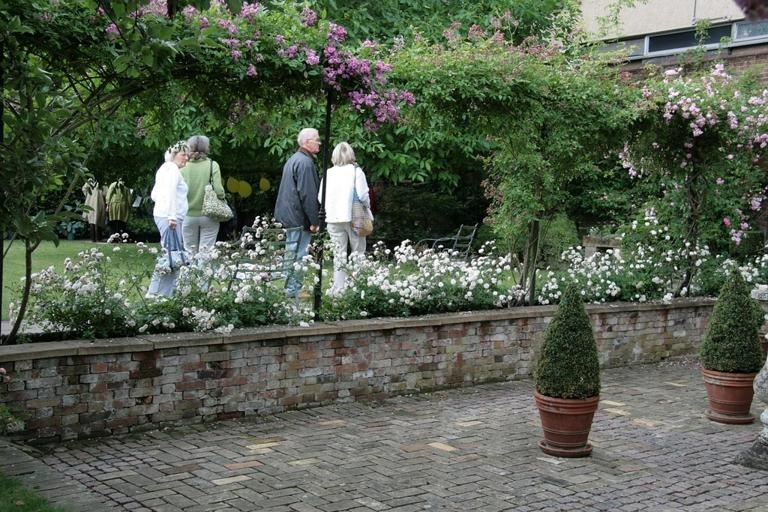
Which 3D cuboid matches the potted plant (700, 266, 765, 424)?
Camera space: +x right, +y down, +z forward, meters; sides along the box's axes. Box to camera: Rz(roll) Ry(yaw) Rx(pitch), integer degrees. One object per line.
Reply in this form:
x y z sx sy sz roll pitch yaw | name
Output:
3.615 0.916 7.289 0.542 1.525 0.430 2 11 -6 | potted plant

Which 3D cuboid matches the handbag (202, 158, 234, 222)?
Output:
-2.123 -0.780 9.069 0.362 0.796 0.442 0 11 -14 | handbag

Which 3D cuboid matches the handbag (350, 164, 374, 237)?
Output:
-0.278 -0.687 9.250 0.270 0.899 0.259 2 11 -3 | handbag

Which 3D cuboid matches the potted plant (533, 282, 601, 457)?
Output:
1.646 1.005 6.333 0.562 1.459 0.480 5 11 14 | potted plant

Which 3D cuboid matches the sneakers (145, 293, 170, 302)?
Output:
-2.228 0.421 7.086 0.187 0.077 0.188 2 1 5 | sneakers
